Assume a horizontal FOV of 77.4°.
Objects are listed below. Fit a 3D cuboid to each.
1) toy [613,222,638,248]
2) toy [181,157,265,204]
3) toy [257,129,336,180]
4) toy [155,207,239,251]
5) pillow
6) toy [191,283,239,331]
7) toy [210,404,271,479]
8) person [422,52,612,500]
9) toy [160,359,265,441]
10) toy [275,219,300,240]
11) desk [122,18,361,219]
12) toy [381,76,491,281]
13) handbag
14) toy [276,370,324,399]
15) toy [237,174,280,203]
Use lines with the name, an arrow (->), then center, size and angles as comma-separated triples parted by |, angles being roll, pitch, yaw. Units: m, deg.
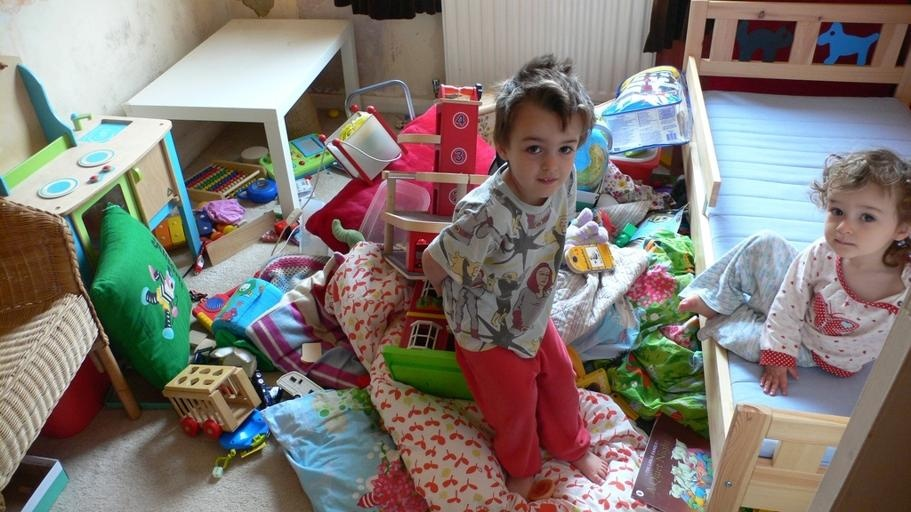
toy -> 0.850, -0.099, 2.859 | 0.082, 0.038, 0.142 | 27, 71, 41
toy -> -1.405, -0.454, 3.423 | 0.342, 0.099, 0.320 | 10, 37, 20
toy -> -0.917, -0.618, 3.549 | 0.481, 0.139, 0.360 | -25, 54, -20
toy -> -1.445, -0.127, 3.164 | 0.273, 0.075, 0.274 | -24, 52, -15
pillow -> -1.462, 0.175, 2.662 | 0.374, 0.563, 0.793 | 3, 30, -25
toy -> -1.185, 0.218, 2.849 | 0.177, 0.070, 0.217 | 7, 37, -7
toy -> -0.895, 0.772, 2.356 | 0.257, 0.159, 0.131 | -19, 35, -31
person -> 0.317, 0.132, 2.013 | 0.665, 1.526, 0.525 | 22, 37, 34
toy -> -1.021, 0.604, 2.422 | 0.342, 0.210, 0.247 | 5, 24, 29
toy -> -0.926, -0.145, 3.134 | 0.113, 0.076, 0.119 | -30, 41, -30
desk -> -1.241, -0.782, 3.252 | 0.955, 0.667, 1.377 | 1, 46, 18
toy -> 0.037, -0.316, 2.522 | 0.612, 0.820, 0.539 | 6, 8, 8
handbag -> 1.019, -0.735, 3.063 | 0.553, 0.179, 0.403 | -13, 61, 16
toy -> -0.683, 0.558, 2.478 | 0.179, 0.029, 0.097 | 21, 41, 21
toy -> -1.150, -0.389, 3.367 | 0.206, 0.068, 0.148 | -12, 37, -10
